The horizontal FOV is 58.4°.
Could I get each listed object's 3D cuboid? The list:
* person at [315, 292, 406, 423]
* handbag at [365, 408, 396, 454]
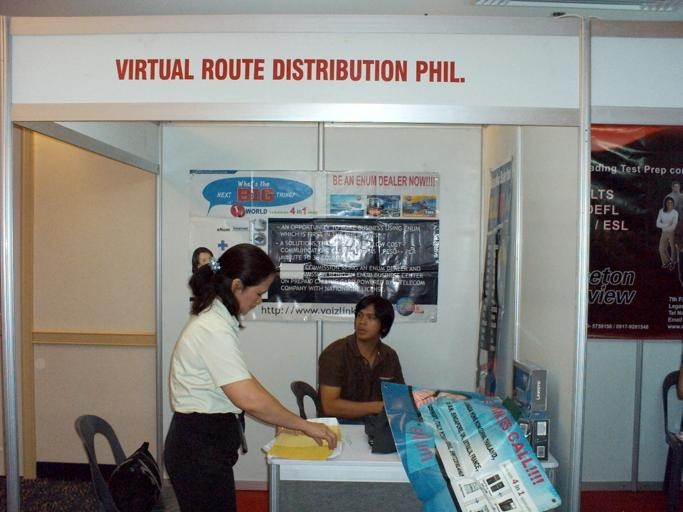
[{"bbox_3d":[0.138,0.600,3.416,0.507,0.775,0.415,0,3,-19],"label":"person"},{"bbox_3d":[0.170,0.782,2.716,0.130,0.049,0.142,-4,39,-1],"label":"handbag"}]
